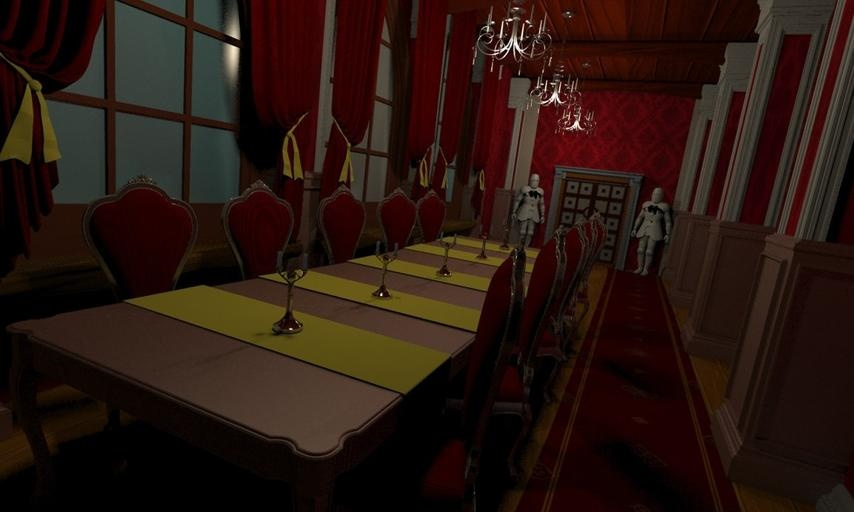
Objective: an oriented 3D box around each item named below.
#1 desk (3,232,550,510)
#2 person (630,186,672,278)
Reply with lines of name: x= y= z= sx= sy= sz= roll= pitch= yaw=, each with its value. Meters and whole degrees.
desk: x=-0.997 y=0.899 z=2.996 sx=2.333 sy=1.258 sz=1.048 roll=9 pitch=13 yaw=5
person: x=3.656 y=-0.391 z=8.741 sx=0.570 sy=1.419 sz=0.415 roll=12 pitch=14 yaw=18
